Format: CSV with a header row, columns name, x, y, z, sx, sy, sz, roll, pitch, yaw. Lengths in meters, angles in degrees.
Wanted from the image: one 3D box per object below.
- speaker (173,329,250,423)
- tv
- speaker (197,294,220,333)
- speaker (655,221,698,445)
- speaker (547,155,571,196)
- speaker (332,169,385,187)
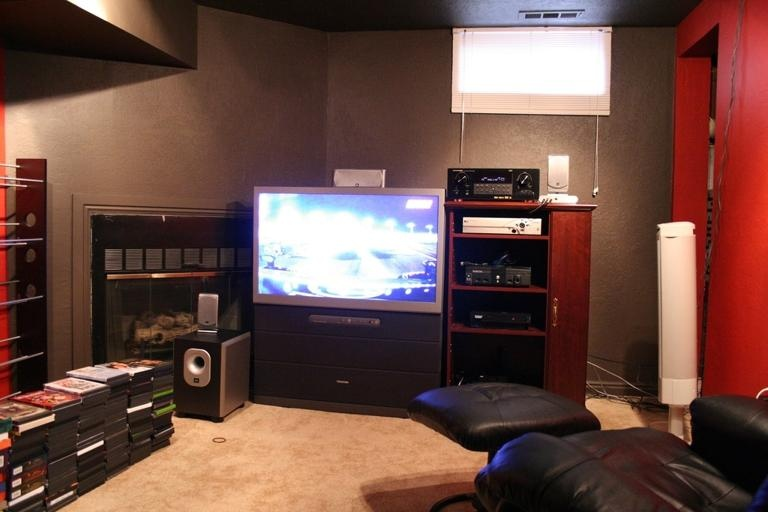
name,x,y,z,sx,sy,sz,roll,pitch,yaw
speaker,-1.454,0.980,4.909,0.501,0.617,0.573,1,-1,16
tv,-0.247,-0.064,4.782,1.146,0.705,0.079,1,2,6
speaker,-1.507,0.464,4.899,0.134,0.308,0.260,-7,7,-43
speaker,2.273,0.580,4.527,0.380,1.658,0.386,10,-10,-35
speaker,1.508,-0.704,4.966,0.216,0.306,0.227,-10,14,-33
speaker,-0.230,-0.680,5.070,0.426,0.155,0.212,-2,5,1
